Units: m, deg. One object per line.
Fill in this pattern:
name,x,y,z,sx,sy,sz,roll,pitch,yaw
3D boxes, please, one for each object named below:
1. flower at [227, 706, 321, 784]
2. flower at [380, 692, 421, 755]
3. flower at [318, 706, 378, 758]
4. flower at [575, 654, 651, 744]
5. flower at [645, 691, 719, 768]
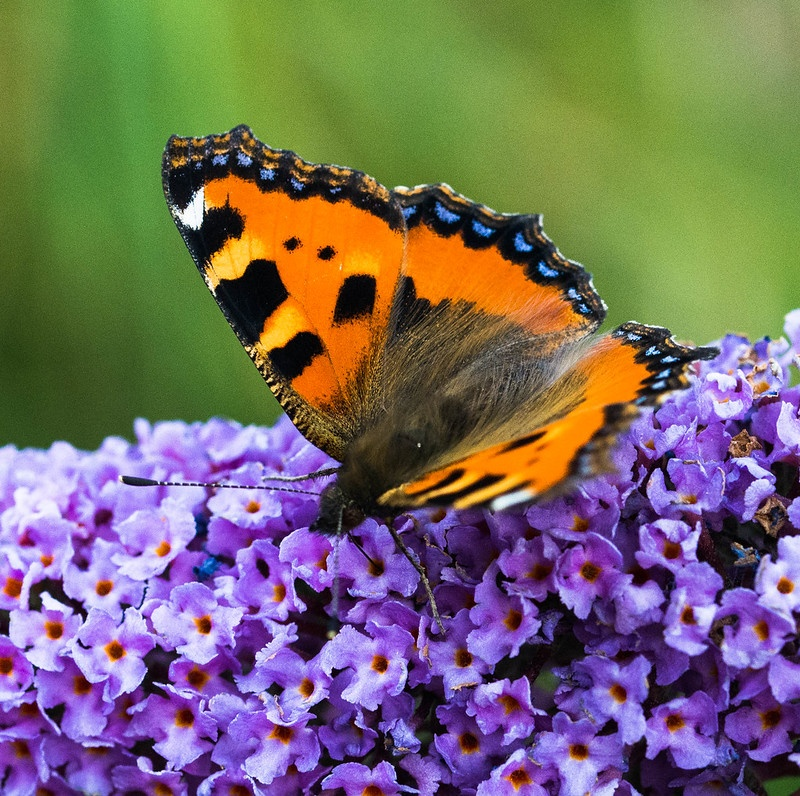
flower,-0.183,0.525,1.688,0.105,0.057,0.129,17,91,22
flower,-0.002,0.482,1.668,0.055,0.042,0.085,-7,84,0
flower,-0.077,0.507,1.676,0.086,0.036,0.068,-27,84,-3
flower,0.301,0.416,1.574,0.048,0.100,0.119,5,84,-36
flower,0.394,0.467,1.582,0.097,0.034,0.103,-1,84,0
